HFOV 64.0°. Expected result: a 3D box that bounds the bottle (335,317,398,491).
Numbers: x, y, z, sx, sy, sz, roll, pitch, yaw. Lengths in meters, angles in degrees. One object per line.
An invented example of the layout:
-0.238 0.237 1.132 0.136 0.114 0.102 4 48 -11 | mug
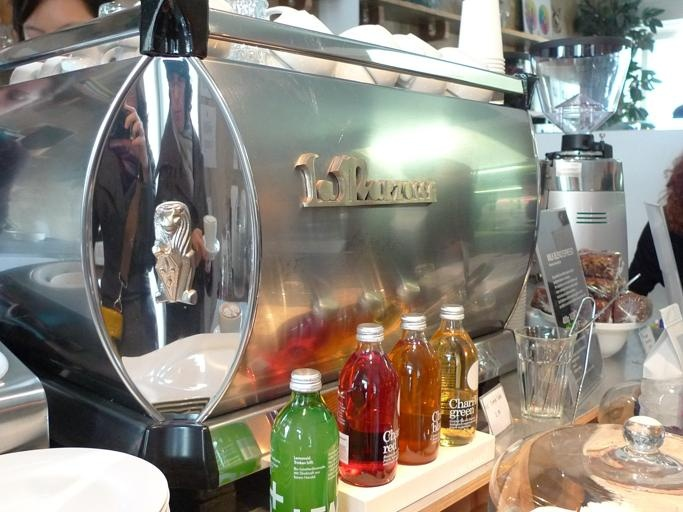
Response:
0.032 0.182 0.675 0.077 0.196 0.042 -2 4 4 | bottle

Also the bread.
0.591 0.065 1.236 0.180 0.191 0.054 6 -15 -25 | bread

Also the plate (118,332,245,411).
-0.176 0.128 0.602 0.101 0.039 0.089 -26 -43 6 | plate

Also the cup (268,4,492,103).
0.091 -0.280 0.886 0.350 0.130 0.210 2 6 -29 | cup

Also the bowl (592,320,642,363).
0.609 0.181 1.229 0.102 0.057 0.120 -2 1 3 | bowl

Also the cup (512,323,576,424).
0.356 0.209 1.047 0.134 0.181 0.133 -1 5 0 | cup
